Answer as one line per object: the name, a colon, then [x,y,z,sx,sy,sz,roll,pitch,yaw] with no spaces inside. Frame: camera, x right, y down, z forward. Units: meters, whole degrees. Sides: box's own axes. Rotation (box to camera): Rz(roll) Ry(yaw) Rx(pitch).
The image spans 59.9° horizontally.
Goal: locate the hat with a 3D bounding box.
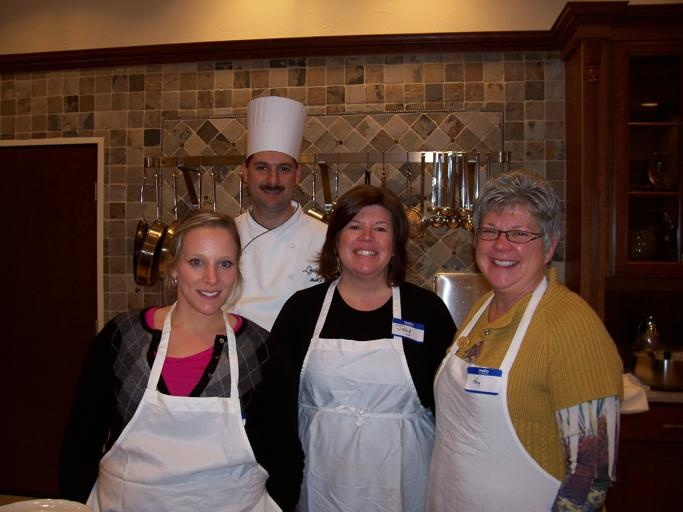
hat: [-0.334,-0.659,3.125,0.268,0.256,0.320,2,0,2]
